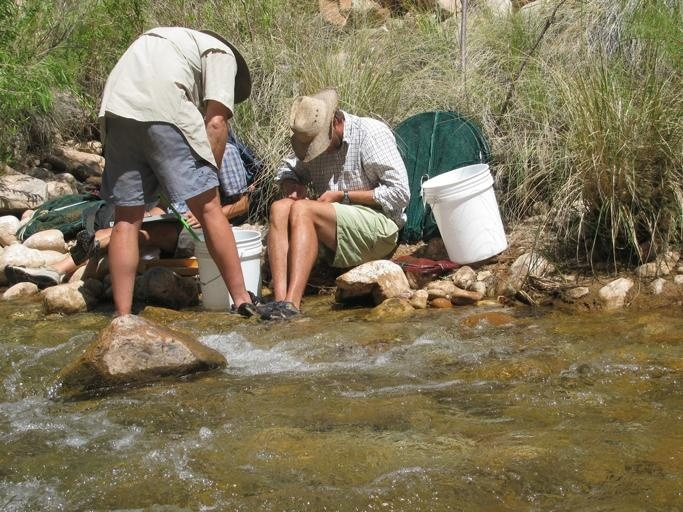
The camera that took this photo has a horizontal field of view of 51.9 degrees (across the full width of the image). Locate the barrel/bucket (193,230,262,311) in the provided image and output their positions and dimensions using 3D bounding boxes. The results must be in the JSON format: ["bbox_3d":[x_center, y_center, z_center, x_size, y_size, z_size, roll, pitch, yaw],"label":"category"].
[{"bbox_3d":[-0.770,0.103,5.198,0.626,0.486,0.552,8,14,42],"label":"barrel/bucket"}]

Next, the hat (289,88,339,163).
[{"bbox_3d":[-0.200,-1.007,5.410,0.391,0.540,0.286,-7,11,-6],"label":"hat"}]

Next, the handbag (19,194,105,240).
[{"bbox_3d":[-2.584,-0.359,6.537,0.671,0.145,0.374,-16,34,-15],"label":"handbag"}]

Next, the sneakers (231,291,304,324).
[{"bbox_3d":[-0.497,0.361,4.732,0.363,0.117,0.209,13,-1,-18],"label":"sneakers"}]

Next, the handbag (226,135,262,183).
[{"bbox_3d":[-0.878,-0.880,6.481,0.303,0.413,0.153,-47,41,2],"label":"handbag"}]

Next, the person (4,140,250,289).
[{"bbox_3d":[-1.649,-0.262,5.969,2.247,1.174,0.977,-14,25,-21],"label":"person"}]

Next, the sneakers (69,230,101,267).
[{"bbox_3d":[-1.969,-0.048,5.443,0.195,0.128,0.400,-10,-23,-26],"label":"sneakers"}]

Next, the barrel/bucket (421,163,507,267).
[{"bbox_3d":[0.955,-0.303,5.625,0.673,0.625,0.623,-15,5,1],"label":"barrel/bucket"}]

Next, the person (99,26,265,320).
[{"bbox_3d":[-1.098,-0.612,4.773,1.265,2.035,0.961,11,-16,-40],"label":"person"}]
